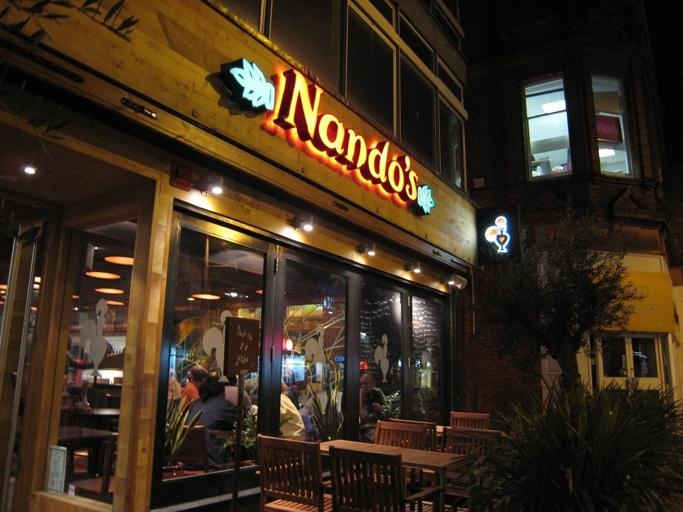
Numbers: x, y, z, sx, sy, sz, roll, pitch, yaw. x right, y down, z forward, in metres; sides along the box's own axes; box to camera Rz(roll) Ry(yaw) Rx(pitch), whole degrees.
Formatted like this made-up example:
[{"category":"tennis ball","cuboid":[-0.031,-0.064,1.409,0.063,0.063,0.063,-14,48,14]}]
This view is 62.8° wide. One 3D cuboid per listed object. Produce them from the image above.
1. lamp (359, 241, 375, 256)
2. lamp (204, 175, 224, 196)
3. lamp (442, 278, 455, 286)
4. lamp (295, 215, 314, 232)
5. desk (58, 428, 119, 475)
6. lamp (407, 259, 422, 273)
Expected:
[{"category":"lamp","cuboid":[0.392,-0.113,8.577,0.174,0.196,0.378,-7,-18,26]},{"category":"lamp","cuboid":[-1.348,-0.744,5.952,0.163,0.192,0.184,-2,-8,15]},{"category":"lamp","cuboid":[2.200,0.532,11.400,0.202,0.104,0.434,-7,-18,24]},{"category":"lamp","cuboid":[-0.481,-0.418,7.196,0.212,0.226,0.158,-8,-8,29]},{"category":"desk","cuboid":[-2.655,2.012,5.844,0.460,0.480,0.354,1,-16,-2]},{"category":"lamp","cuboid":[1.247,0.186,9.935,0.202,0.285,0.258,9,-13,-37]}]
